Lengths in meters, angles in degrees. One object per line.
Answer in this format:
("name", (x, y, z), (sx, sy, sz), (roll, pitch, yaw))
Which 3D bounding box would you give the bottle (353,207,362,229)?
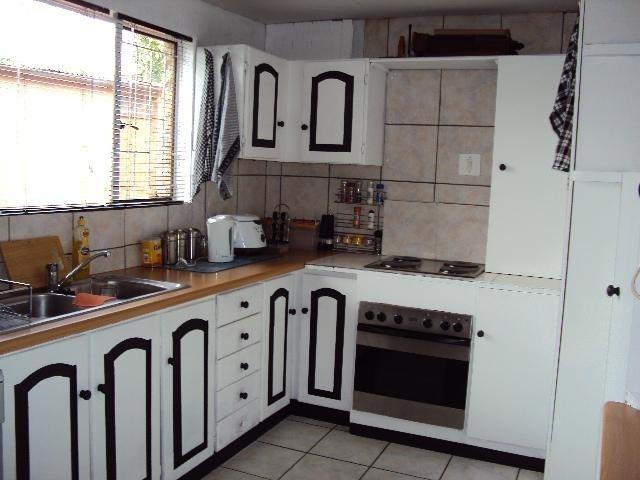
("bottle", (0.291, -0.183, 4.238), (0.071, 0.166, 0.066), (3, 13, -1))

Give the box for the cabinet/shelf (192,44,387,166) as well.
("cabinet/shelf", (-0.191, -0.921, 3.771), (0.933, 0.635, 0.943), (2, 6, 25))

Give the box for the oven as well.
("oven", (0.640, 0.797, 3.701), (0.773, 0.769, 0.550), (5, 2, 21))

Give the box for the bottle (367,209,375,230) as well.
("bottle", (0.405, -0.163, 4.207), (0.063, 0.150, 0.047), (6, 13, 13))

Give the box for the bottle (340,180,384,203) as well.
("bottle", (0.316, -0.371, 4.204), (0.393, 0.193, 0.071), (8, 14, 20))

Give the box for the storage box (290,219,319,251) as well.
("storage box", (-0.129, -0.036, 4.338), (0.261, 0.244, 0.196), (5, 4, 8))

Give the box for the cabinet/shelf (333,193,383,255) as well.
("cabinet/shelf", (0.316, -0.123, 4.220), (0.435, 0.430, 0.149), (3, 6, 18))

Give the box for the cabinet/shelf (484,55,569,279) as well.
("cabinet/shelf", (1.342, -0.461, 3.428), (0.525, 1.393, 0.197), (7, 13, 17))

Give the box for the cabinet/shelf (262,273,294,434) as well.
("cabinet/shelf", (-0.277, 0.713, 3.610), (0.321, 0.904, 0.079), (-21, -31, 41))

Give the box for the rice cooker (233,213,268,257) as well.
("rice cooker", (-0.540, -0.040, 3.897), (0.280, 0.254, 0.290), (-3, 5, 37))

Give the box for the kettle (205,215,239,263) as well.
("kettle", (-0.651, -0.010, 3.559), (0.208, 0.296, 0.163), (-3, 14, -26))

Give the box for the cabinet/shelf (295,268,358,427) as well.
("cabinet/shelf", (0.045, 0.679, 3.690), (0.408, 0.947, 0.190), (5, 13, 10))
